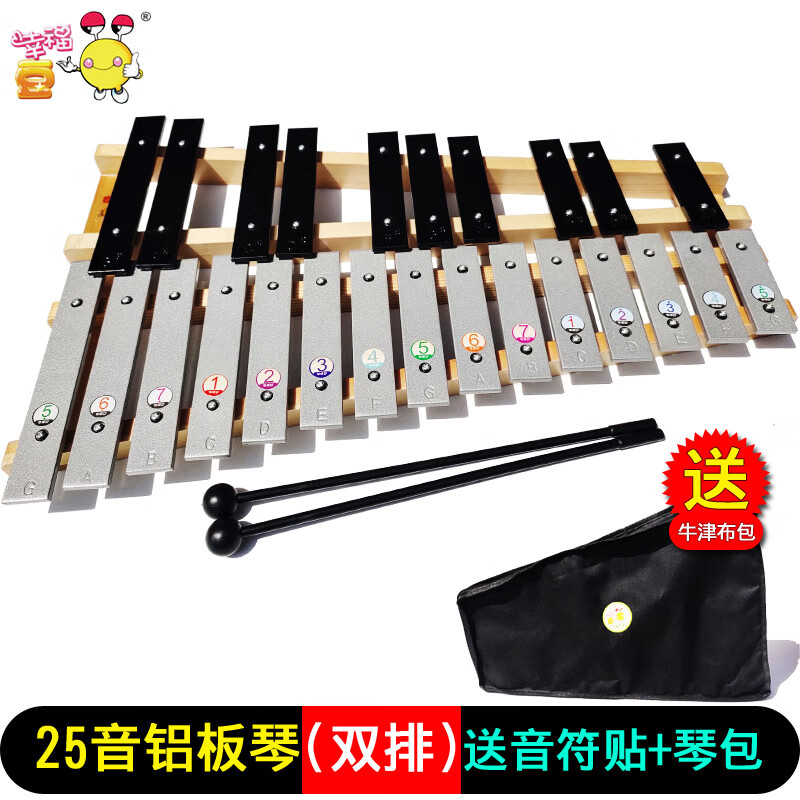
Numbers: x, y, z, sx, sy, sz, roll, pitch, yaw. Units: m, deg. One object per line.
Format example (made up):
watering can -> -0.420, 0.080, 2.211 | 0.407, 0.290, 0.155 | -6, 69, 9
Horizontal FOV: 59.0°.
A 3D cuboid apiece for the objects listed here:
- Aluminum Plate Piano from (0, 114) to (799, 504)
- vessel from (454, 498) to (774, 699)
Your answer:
Aluminum Plate Piano -> 0.026, -0.390, 2.639 | 2.584, 1.404, 0.174 | -1, -32, -4
vessel -> 0.561, 0.615, 2.128 | 0.854, 0.203, 0.465 | -7, -82, -1
